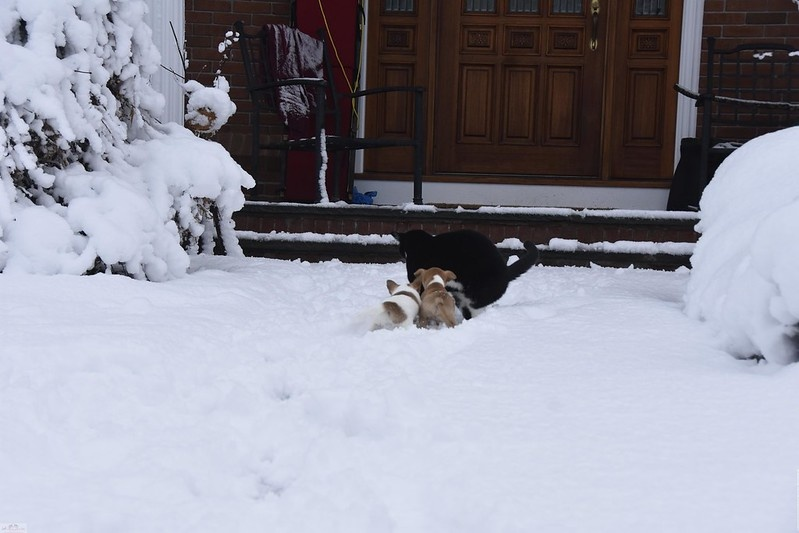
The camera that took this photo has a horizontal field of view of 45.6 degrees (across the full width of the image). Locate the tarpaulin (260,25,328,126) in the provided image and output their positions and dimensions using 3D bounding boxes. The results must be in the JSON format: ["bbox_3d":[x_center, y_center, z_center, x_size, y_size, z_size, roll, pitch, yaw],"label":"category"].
[{"bbox_3d":[-0.823,-1.437,6.707,0.455,0.196,0.660,-14,-6,-7],"label":"tarpaulin"}]

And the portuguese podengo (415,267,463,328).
[{"bbox_3d":[0.184,0.185,4.557,0.181,0.357,0.582,-1,4,-1],"label":"portuguese podengo"}]

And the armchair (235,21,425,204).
[{"bbox_3d":[-0.438,-1.015,6.218,1.048,1.262,0.832,-5,8,-33],"label":"armchair"}]

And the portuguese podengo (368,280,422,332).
[{"bbox_3d":[0.000,0.195,4.439,0.175,0.153,0.315,6,17,19],"label":"portuguese podengo"}]
